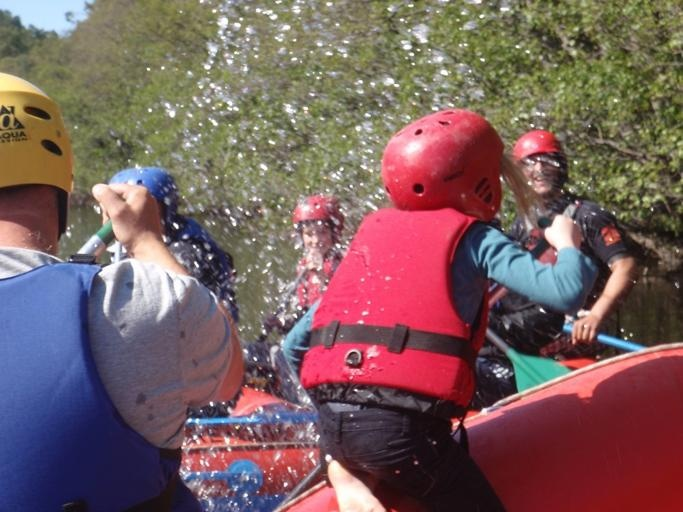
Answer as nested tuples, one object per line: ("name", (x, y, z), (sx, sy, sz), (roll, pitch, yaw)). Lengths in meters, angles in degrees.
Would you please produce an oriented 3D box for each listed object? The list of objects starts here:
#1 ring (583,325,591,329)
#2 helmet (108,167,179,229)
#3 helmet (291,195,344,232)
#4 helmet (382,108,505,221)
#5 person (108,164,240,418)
("ring", (1.649, 0.472, 6.248), (0.023, 0.035, 0.031), (-1, -5, -20))
("helmet", (-1.568, -0.389, 7.277), (0.457, 0.614, 0.642), (-4, 2, 7))
("helmet", (-0.211, -0.394, 8.429), (0.383, 0.474, 0.560), (1, 9, 20))
("helmet", (0.558, -0.489, 5.194), (0.653, 0.542, 0.484), (-26, 22, -16))
("person", (-1.360, 0.138, 7.752), (1.029, 2.306, 0.786), (-17, 40, -15))
